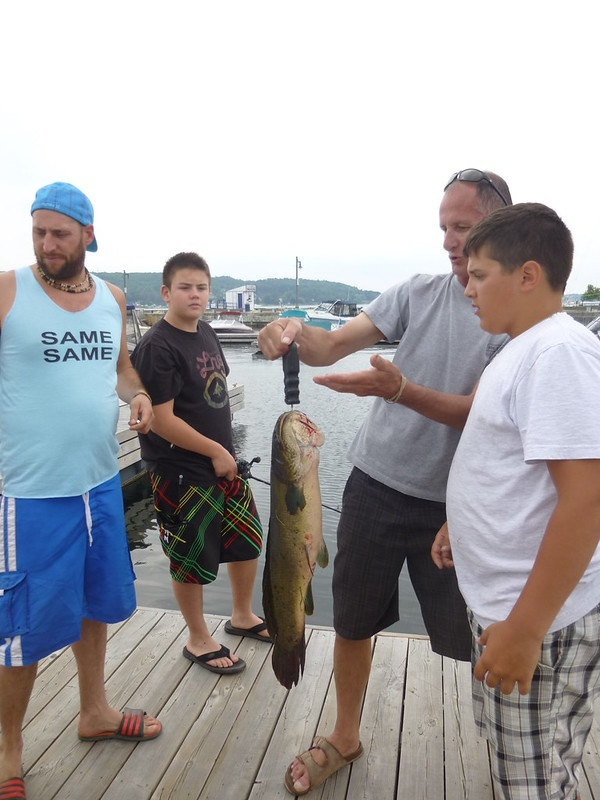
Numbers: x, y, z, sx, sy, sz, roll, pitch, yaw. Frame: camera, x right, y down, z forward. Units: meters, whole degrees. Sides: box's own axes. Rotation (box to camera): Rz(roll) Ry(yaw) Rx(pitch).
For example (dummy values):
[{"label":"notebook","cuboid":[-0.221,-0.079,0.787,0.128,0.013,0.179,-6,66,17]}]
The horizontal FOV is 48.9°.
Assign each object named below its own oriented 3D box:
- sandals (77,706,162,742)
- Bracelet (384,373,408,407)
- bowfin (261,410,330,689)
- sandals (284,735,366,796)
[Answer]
[{"label":"sandals","cuboid":[-0.846,1.497,3.069,0.312,0.081,0.146,-2,2,-6]},{"label":"Bracelet","cuboid":[0.380,-0.038,2.579,0.041,0.100,0.089,23,1,-14]},{"label":"bowfin","cuboid":[-0.013,0.593,2.550,0.249,1.120,0.243,-4,14,-13]},{"label":"sandals","cuboid":[0.104,1.564,2.854,0.322,0.092,0.117,5,21,-41]}]
